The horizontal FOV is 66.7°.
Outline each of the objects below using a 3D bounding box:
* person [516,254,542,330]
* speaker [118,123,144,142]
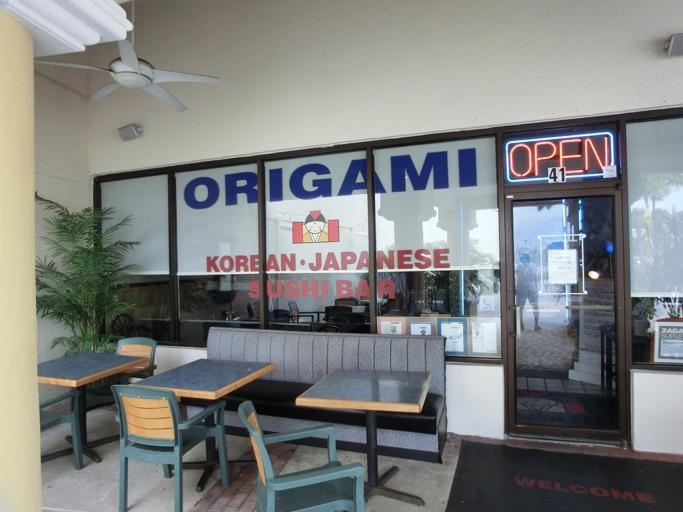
[{"bbox_3d":[1.909,0.360,5.337,0.264,0.775,0.149,3,14,18],"label":"person"},{"bbox_3d":[-2.725,-1.591,6.695,0.353,0.216,0.162,1,13,12],"label":"speaker"}]
